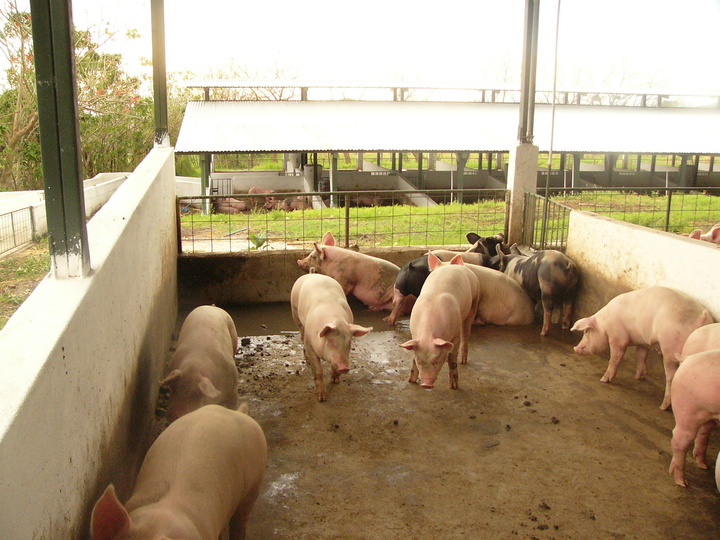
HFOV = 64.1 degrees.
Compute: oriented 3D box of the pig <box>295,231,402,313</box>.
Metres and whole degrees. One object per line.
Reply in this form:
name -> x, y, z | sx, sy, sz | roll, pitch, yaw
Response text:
pig -> -0.102, 0.080, 8.098 | 1.490, 0.890, 0.609 | 17, 20, 8
